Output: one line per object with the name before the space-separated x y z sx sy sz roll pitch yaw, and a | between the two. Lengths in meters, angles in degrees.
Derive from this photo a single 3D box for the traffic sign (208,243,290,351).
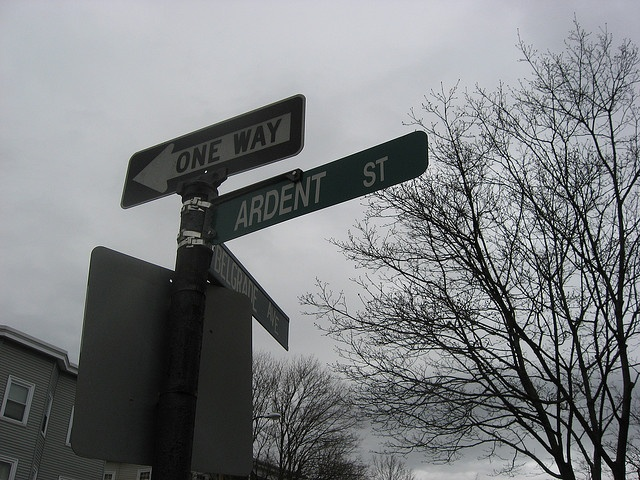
traffic sign | -0.631 0.452 4.946 0.041 0.297 0.984 -15 -46 11
